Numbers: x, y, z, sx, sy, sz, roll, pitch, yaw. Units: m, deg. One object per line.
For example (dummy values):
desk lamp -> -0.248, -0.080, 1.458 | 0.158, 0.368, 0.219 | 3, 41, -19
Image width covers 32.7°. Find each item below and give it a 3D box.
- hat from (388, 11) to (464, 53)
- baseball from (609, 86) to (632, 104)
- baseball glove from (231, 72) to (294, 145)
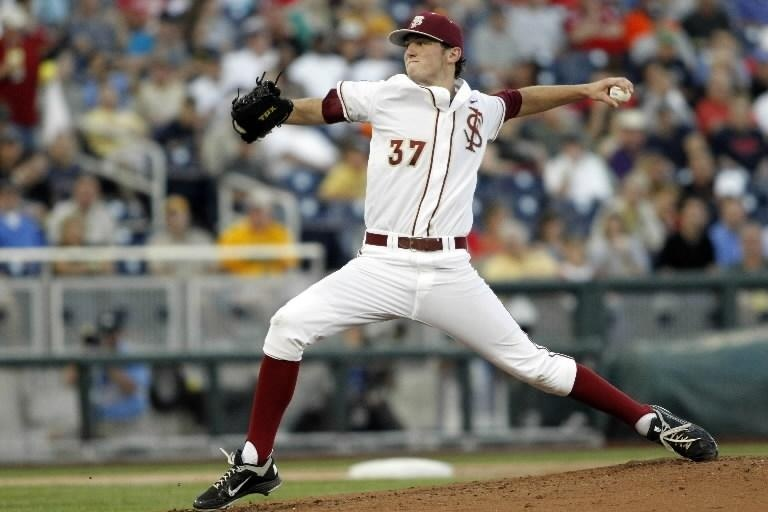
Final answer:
hat -> 0.359, -1.834, 10.642 | 0.461, 0.232, 0.320 | 6, 5, -9
baseball -> 1.962, -1.330, 10.842 | 0.149, 0.119, 0.069 | 15, -11, 17
baseball glove -> -1.046, -1.216, 10.570 | 0.416, 0.547, 0.229 | -35, 66, -19
